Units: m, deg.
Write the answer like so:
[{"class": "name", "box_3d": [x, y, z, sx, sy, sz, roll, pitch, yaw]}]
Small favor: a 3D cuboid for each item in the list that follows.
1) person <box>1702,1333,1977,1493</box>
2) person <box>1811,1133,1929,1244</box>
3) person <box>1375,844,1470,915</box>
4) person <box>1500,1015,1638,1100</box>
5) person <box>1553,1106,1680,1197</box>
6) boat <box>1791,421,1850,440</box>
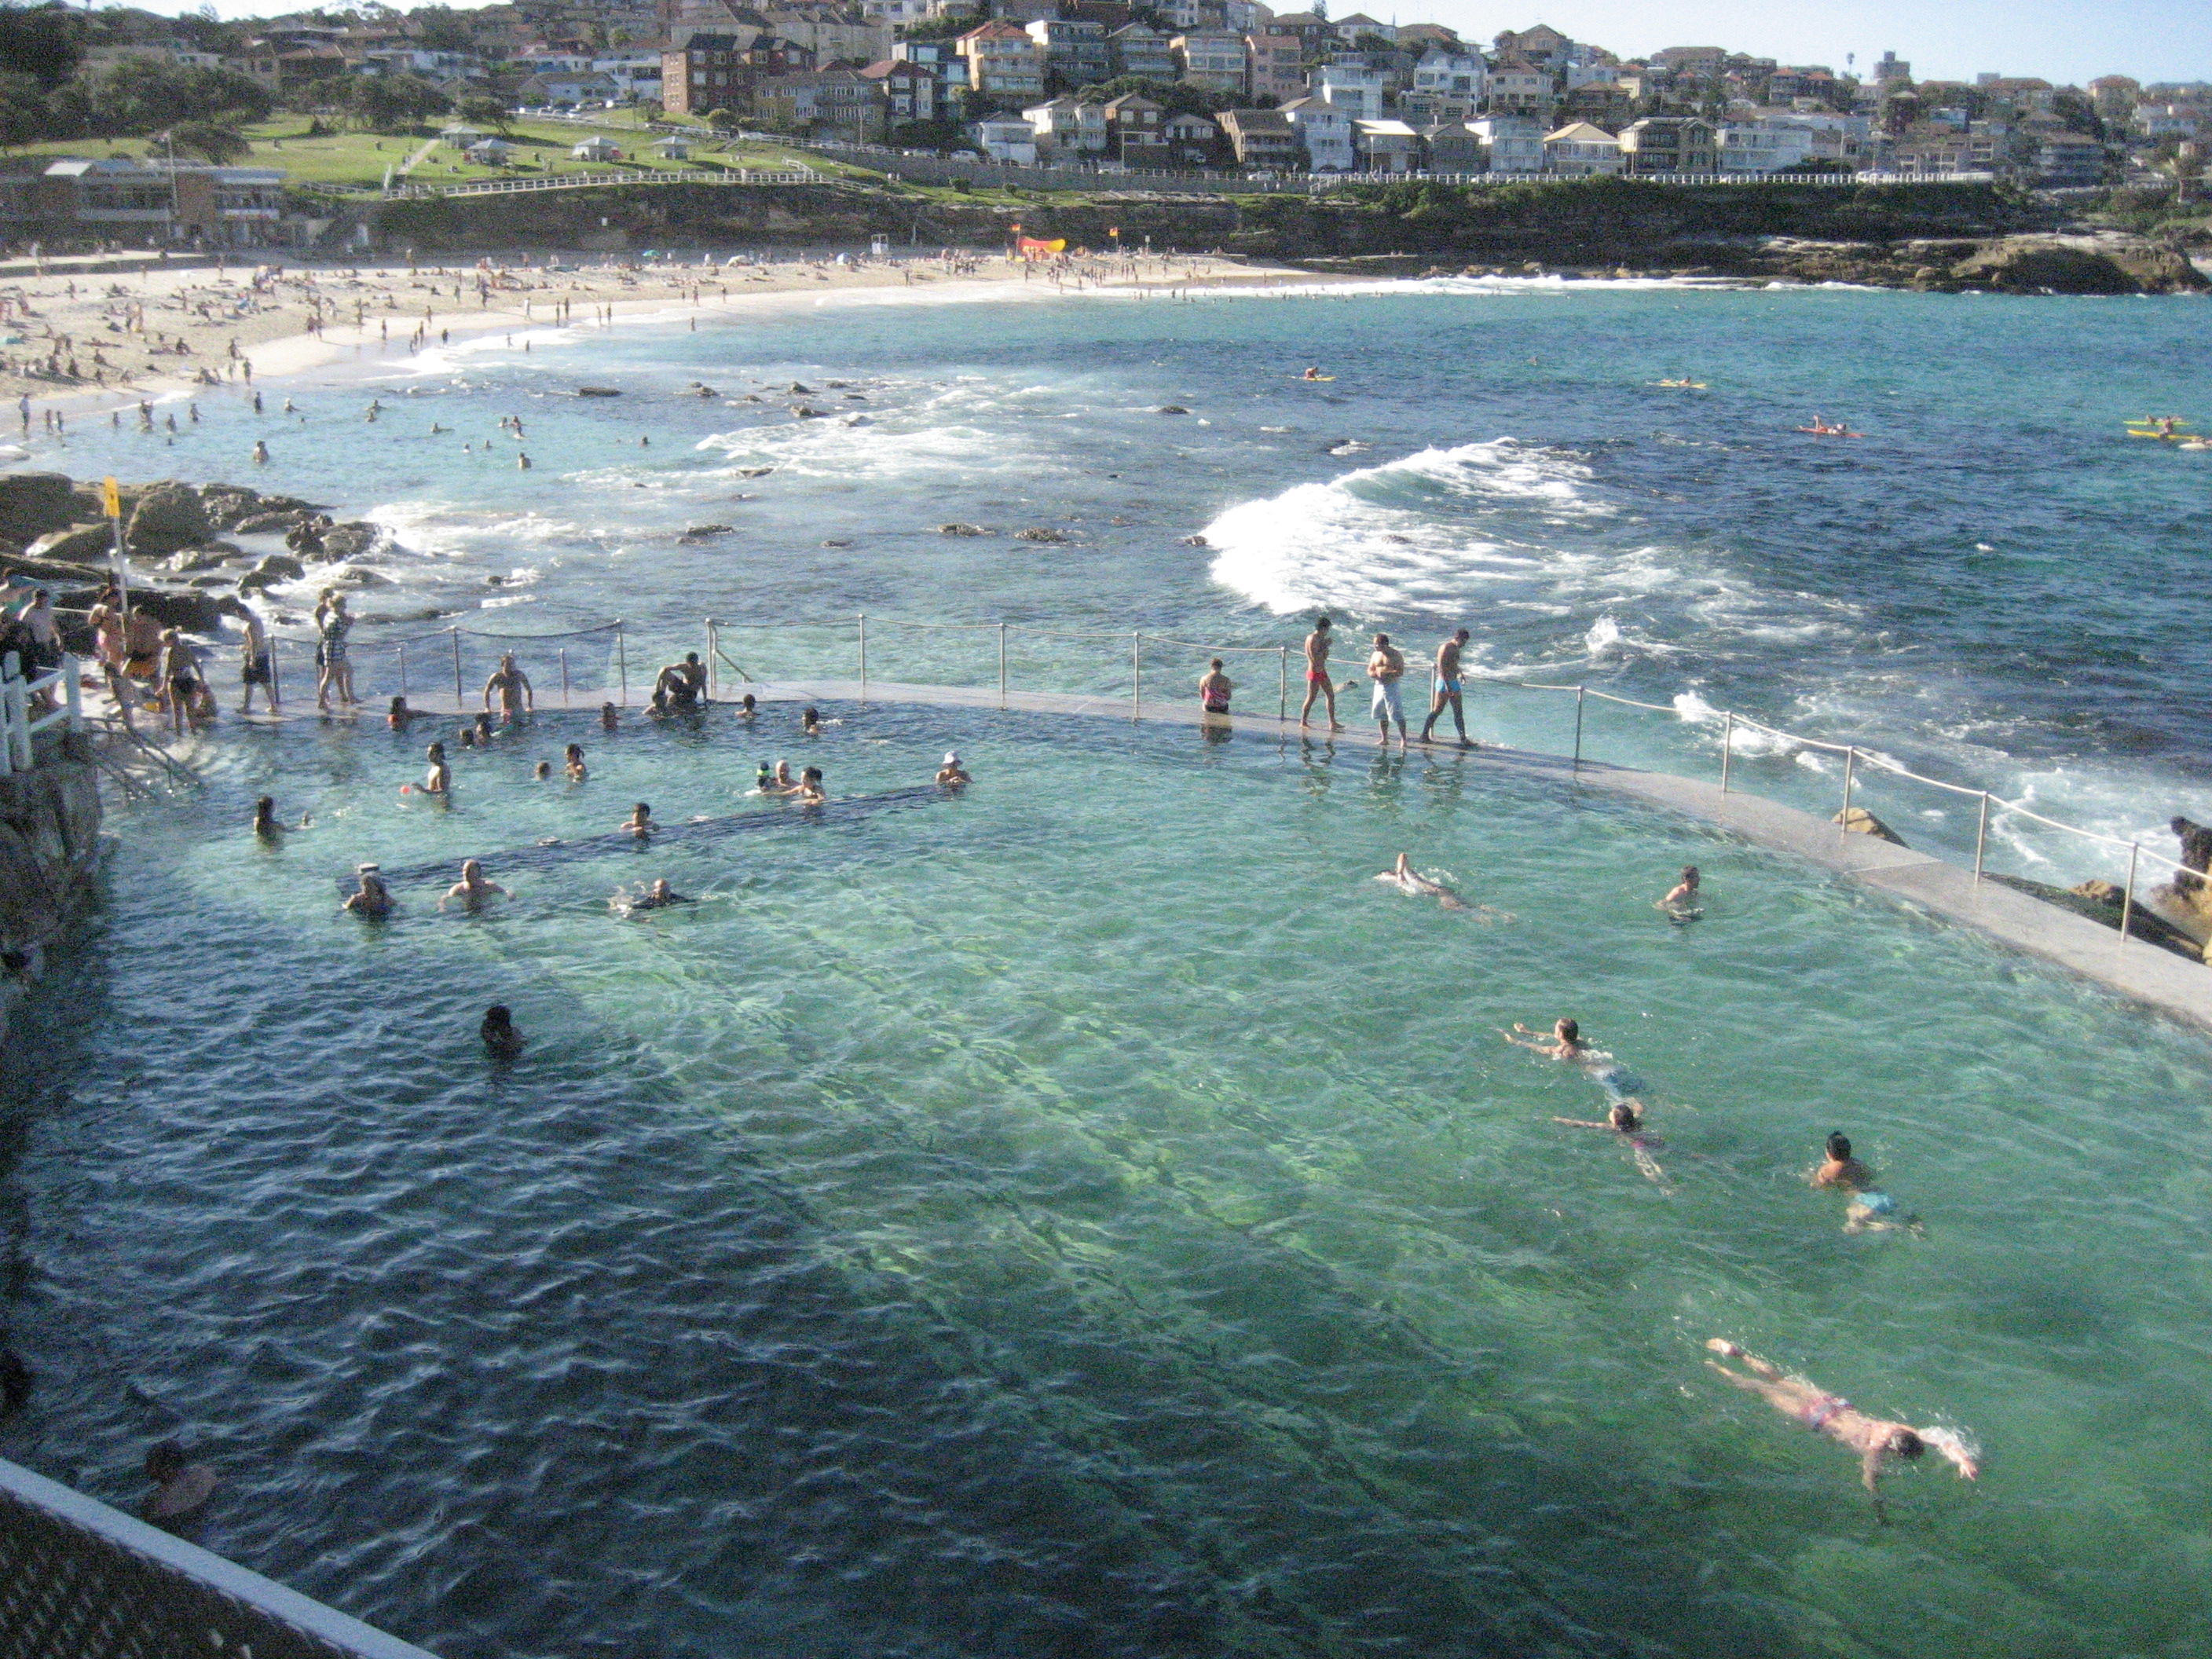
[{"class": "person", "box_3d": [5.377, 4.301, 14.613, 1.939, 0.442, 0.817, 12, 20, 41]}, {"class": "person", "box_3d": [6.378, 3.119, 16.735, 1.076, 0.474, 1.036, -23, 19, 28]}, {"class": "person", "box_3d": [3.618, 0.600, 22.654, 0.792, 0.633, 2.117, 6, 4, 5]}, {"class": "person", "box_3d": [4.481, 2.155, 18.856, 0.810, 0.282, 0.933, -17, 33, -35]}, {"class": "person", "box_3d": [4.676, 2.787, 17.466, 0.927, 0.168, 0.714, -5, 31, -8]}, {"class": "boat", "box_3d": [24.472, -13.612, 67.956, 1.478, 0.514, 1.664, 7, 19, 18]}]
